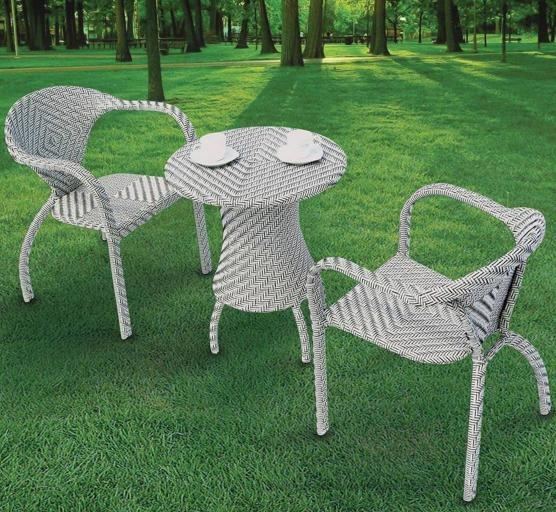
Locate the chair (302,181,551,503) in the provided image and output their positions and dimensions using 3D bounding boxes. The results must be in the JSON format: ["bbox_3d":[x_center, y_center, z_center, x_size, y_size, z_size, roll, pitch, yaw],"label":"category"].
[{"bbox_3d":[0.643,0.316,2.307,0.982,1.119,0.924,-11,19,-28],"label":"chair"}]

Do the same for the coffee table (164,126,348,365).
[{"bbox_3d":[-0.110,-0.007,3.083,0.968,1.040,1.022,16,30,31],"label":"coffee table"}]

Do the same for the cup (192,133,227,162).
[{"bbox_3d":[-0.398,-0.629,3.073,0.177,0.121,0.147,-25,43,-15],"label":"cup"}]
